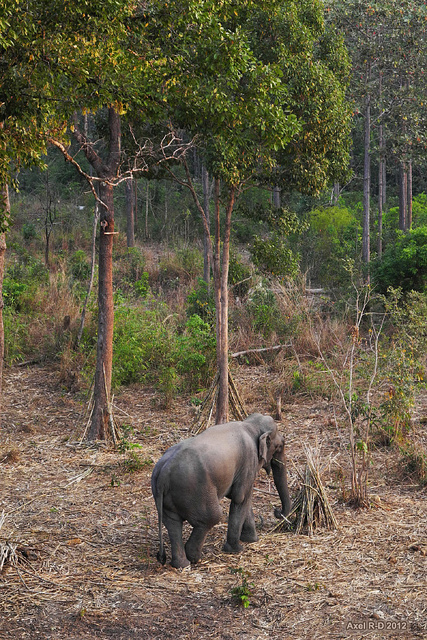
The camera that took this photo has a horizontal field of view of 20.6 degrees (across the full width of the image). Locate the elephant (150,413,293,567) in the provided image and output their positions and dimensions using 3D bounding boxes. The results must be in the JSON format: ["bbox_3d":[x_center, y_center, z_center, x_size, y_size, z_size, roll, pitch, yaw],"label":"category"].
[{"bbox_3d":[0.107,1.317,9.238,0.472,1.030,1.533,9,14,43],"label":"elephant"}]

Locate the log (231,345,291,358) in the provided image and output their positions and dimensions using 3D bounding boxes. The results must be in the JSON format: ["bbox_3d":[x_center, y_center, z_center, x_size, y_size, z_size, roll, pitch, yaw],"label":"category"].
[{"bbox_3d":[0.507,0.392,15.242,0.603,0.161,1.180,0,-1,30],"label":"log"}]
